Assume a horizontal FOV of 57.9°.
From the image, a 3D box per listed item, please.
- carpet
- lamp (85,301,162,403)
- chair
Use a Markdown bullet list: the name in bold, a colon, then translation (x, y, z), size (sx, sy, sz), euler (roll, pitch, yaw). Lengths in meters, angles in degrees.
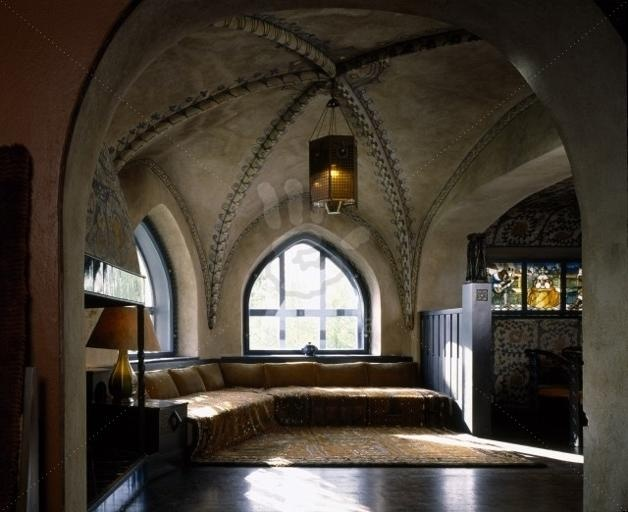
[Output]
- **carpet**: translation (0.554, 2.144, 6.343), size (3.224, 0.131, 1.704), euler (0, -9, -1)
- **lamp**: translation (-1.650, 0.851, 5.168), size (0.722, 1.002, 0.733), euler (2, -3, -38)
- **chair**: translation (3.126, 1.865, 7.547), size (0.761, 1.157, 0.720), euler (1, -7, 30)
